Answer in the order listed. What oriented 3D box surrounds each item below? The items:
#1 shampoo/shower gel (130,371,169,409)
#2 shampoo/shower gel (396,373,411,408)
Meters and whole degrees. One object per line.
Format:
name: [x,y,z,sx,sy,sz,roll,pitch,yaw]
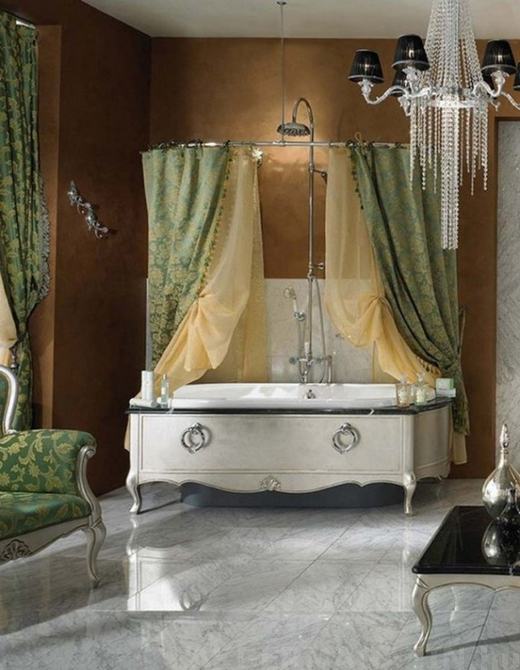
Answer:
shampoo/shower gel: [-0.603,0.296,3.714,0.210,0.249,0.181,0,2,-16]
shampoo/shower gel: [0.801,0.311,3.770,0.078,0.152,0.317,-1,-2,12]
